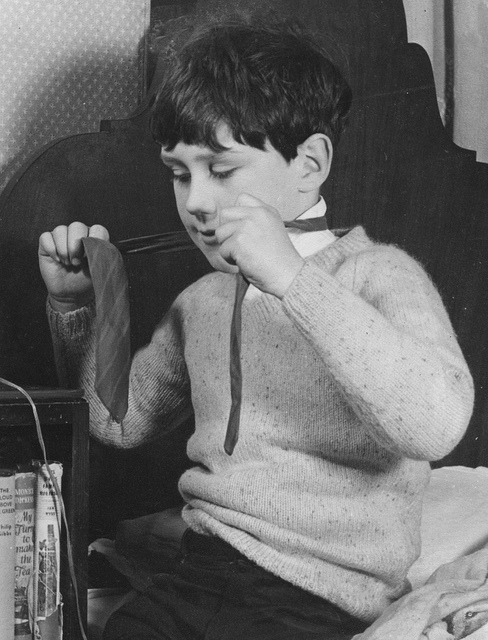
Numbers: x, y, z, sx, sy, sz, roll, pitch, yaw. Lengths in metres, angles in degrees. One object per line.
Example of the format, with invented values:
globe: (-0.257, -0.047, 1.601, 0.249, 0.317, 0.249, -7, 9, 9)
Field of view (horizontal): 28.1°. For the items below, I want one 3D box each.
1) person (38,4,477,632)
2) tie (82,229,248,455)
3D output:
person: (-0.018, 0.021, 1.405, 0.509, 0.799, 0.608, -8, 29, -11)
tie: (-0.170, 0.015, 1.521, 0.241, 0.326, 0.102, 1, 13, 8)
